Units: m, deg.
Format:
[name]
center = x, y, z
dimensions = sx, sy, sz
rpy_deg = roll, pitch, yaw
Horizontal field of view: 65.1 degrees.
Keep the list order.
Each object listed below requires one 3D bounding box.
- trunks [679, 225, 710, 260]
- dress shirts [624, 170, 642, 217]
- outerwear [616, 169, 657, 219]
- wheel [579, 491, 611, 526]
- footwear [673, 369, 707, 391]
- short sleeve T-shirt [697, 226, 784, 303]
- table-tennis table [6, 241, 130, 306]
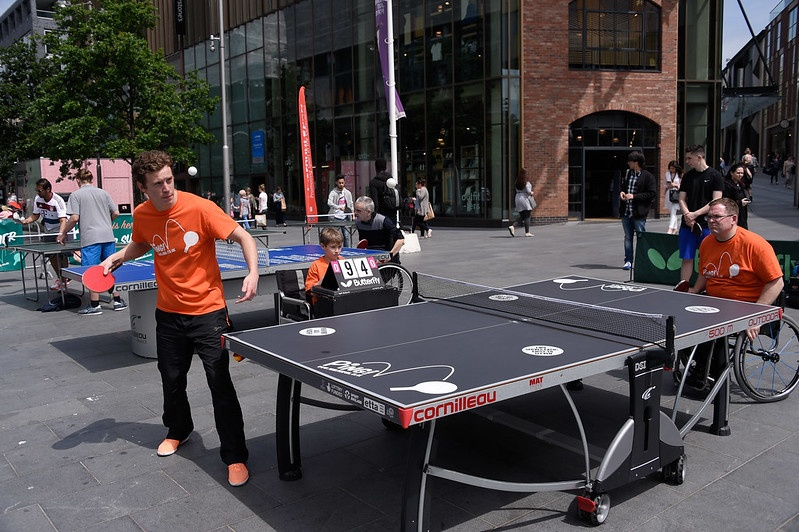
[trunks]
center = 4.264, -0.359, 9.085
dimensions = 0.533, 0.537, 0.323
rpy_deg = -1, -1, 4
[dress shirts]
center = 4.737, -1.504, 12.821
dimensions = 0.252, 0.802, 0.576
rpy_deg = 5, 8, -15
[outerwear]
center = 4.862, -1.490, 12.985
dimensions = 0.828, 1.026, 0.537
rpy_deg = 9, 16, 38
[wheel]
center = 1.563, 1.940, 5.076
dimensions = 0.270, 0.274, 0.210
rpy_deg = -1, -3, -27
[footwear]
center = 3.214, 1.262, 6.921
dimensions = 0.355, 0.422, 0.148
rpy_deg = -1, 48, 31
[short sleeve T-shirt]
center = 3.730, 0.002, 6.957
dimensions = 0.460, 0.699, 0.861
rpy_deg = -10, 13, -30
[table-tennis table]
center = -5.983, 0.155, 11.270
dimensions = 1.258, 0.660, 1.244
rpy_deg = -4, 8, -45
